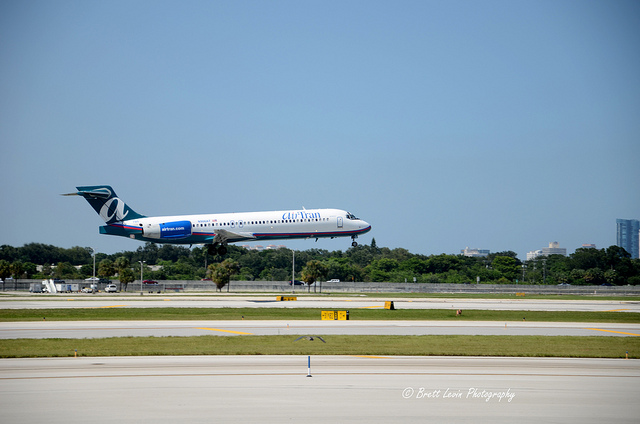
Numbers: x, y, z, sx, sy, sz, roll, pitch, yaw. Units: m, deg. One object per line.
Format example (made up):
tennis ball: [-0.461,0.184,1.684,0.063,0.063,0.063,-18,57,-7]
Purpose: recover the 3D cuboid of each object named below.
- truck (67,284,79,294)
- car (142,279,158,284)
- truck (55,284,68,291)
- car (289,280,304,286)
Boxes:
truck: [-32.605,10.169,127.464,2.004,1.185,0.996,0,0,-2]
car: [-24.568,10.268,139.349,2.414,0.687,1.237,2,-3,4]
truck: [-33.853,10.052,126.622,1.391,0.785,1.696,-1,1,-16]
car: [-3.171,10.190,139.544,1.245,0.768,2.185,4,-9,-36]
